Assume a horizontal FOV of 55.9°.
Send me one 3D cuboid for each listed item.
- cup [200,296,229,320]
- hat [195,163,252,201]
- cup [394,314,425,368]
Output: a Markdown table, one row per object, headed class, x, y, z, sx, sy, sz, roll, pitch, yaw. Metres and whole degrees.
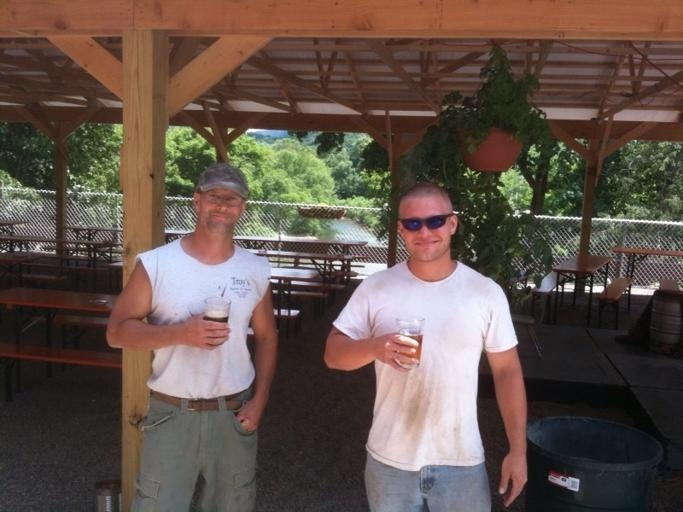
| class | x | y | z | sx | sy | sz | roll | pitch | yaw |
| --- | --- | --- | --- | --- | --- | --- | --- | --- | --- |
| cup | -0.659 | 0.273 | 3.384 | 0.110 | 0.138 | 0.116 | 2 | -5 | 0 |
| hat | -0.680 | -0.438 | 3.777 | 0.289 | 0.225 | 0.407 | 3 | -3 | -16 |
| cup | 0.364 | 0.426 | 3.228 | 0.114 | 0.239 | 0.223 | 7 | 8 | 44 |
